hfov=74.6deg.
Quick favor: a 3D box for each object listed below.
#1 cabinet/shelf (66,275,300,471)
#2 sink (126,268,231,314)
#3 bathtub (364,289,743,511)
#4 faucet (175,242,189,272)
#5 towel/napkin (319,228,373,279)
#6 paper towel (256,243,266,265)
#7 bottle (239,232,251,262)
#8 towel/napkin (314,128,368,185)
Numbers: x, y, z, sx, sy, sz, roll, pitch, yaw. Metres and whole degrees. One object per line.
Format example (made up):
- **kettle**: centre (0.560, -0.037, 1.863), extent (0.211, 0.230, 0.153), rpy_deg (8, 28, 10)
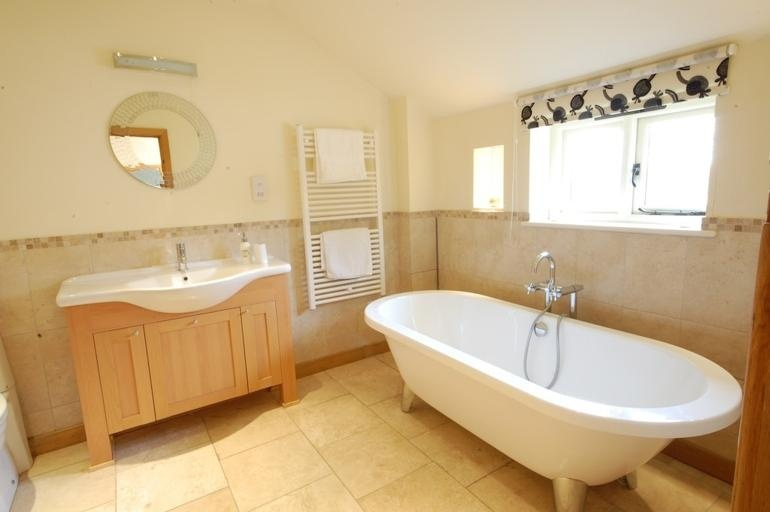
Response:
- **cabinet/shelf**: centre (-1.478, 0.817, 3.575), extent (1.245, 0.902, 0.471), rpy_deg (-7, 11, -33)
- **sink**: centre (-1.425, 0.241, 3.629), extent (0.701, 0.288, 0.522), rpy_deg (-4, 8, -13)
- **bathtub**: centre (1.003, 0.915, 3.372), extent (2.183, 1.066, 1.008), rpy_deg (5, 11, 43)
- **faucet**: centre (-1.525, -0.002, 3.816), extent (0.080, 0.211, 0.157), rpy_deg (-6, 9, -21)
- **towel/napkin**: centre (-0.357, -0.036, 4.395), extent (0.412, 0.358, 0.096), rpy_deg (-8, 12, -28)
- **paper towel**: centre (-0.956, -0.028, 3.945), extent (0.078, 0.148, 0.112), rpy_deg (-3, 9, -8)
- **bottle**: centre (-1.100, -0.087, 4.009), extent (0.074, 0.208, 0.206), rpy_deg (-5, 9, -15)
- **towel/napkin**: centre (-0.391, -0.852, 4.282), extent (0.496, 0.446, 0.072), rpy_deg (-8, 9, -36)
